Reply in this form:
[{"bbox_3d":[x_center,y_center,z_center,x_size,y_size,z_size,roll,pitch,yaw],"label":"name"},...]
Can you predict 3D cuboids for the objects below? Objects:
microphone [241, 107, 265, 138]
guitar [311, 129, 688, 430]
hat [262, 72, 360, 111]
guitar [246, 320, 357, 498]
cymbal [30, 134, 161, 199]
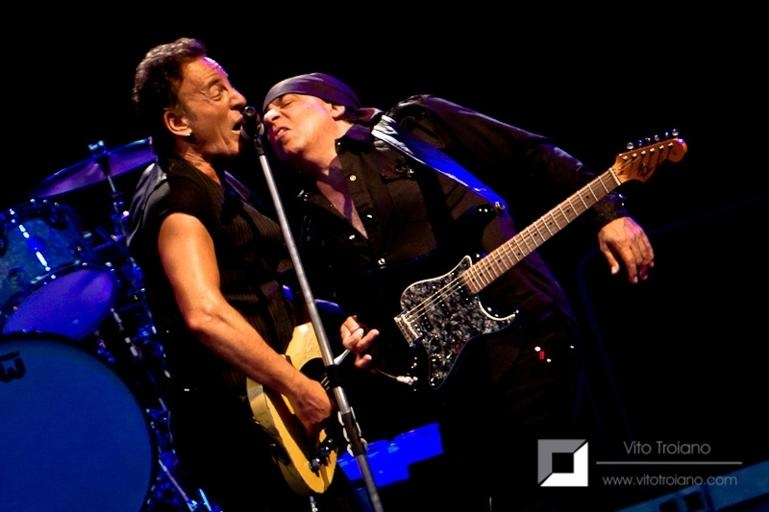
[{"bbox_3d":[-0.548,-0.566,2.869,0.080,0.057,0.132,-12,-32,1],"label":"microphone"},{"bbox_3d":[0.566,0.175,3.377,1.459,0.561,0.204,-33,-9,5],"label":"guitar"},{"bbox_3d":[-0.345,-0.806,3.508,0.309,0.127,0.254,-3,-16,-46],"label":"hat"},{"bbox_3d":[-0.423,0.727,3.040,0.407,0.784,0.118,-34,22,-36],"label":"guitar"},{"bbox_3d":[-1.423,-0.475,3.426,0.651,0.145,0.653,-24,0,-31],"label":"cymbal"}]
